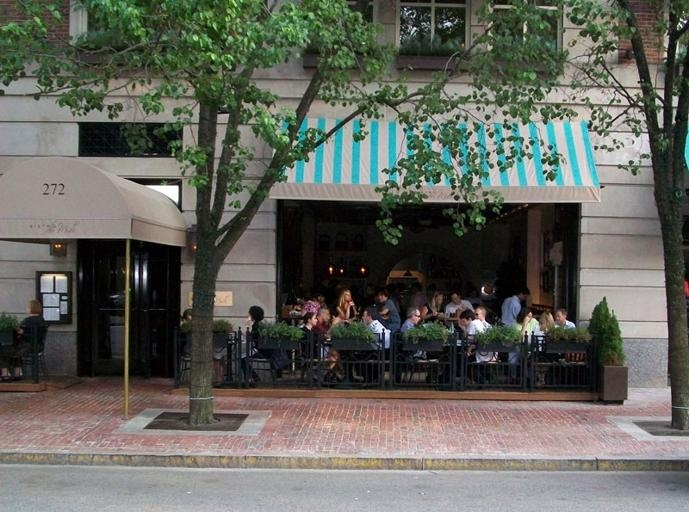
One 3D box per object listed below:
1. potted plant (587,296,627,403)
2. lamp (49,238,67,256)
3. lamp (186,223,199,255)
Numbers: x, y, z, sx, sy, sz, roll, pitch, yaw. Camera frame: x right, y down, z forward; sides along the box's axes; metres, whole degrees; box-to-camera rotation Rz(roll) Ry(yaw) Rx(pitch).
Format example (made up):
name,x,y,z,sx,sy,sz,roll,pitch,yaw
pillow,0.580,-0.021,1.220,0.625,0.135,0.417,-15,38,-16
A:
name,x,y,z,sx,sy,sz,roll,pitch,yaw
potted plant,5.218,1.854,18.229,0.585,1.916,0.903,-2,10,-12
lamp,-6.198,-0.169,20.134,0.365,0.393,0.314,1,12,-7
lamp,-3.272,-0.339,19.822,0.208,0.647,0.431,-2,10,-15
